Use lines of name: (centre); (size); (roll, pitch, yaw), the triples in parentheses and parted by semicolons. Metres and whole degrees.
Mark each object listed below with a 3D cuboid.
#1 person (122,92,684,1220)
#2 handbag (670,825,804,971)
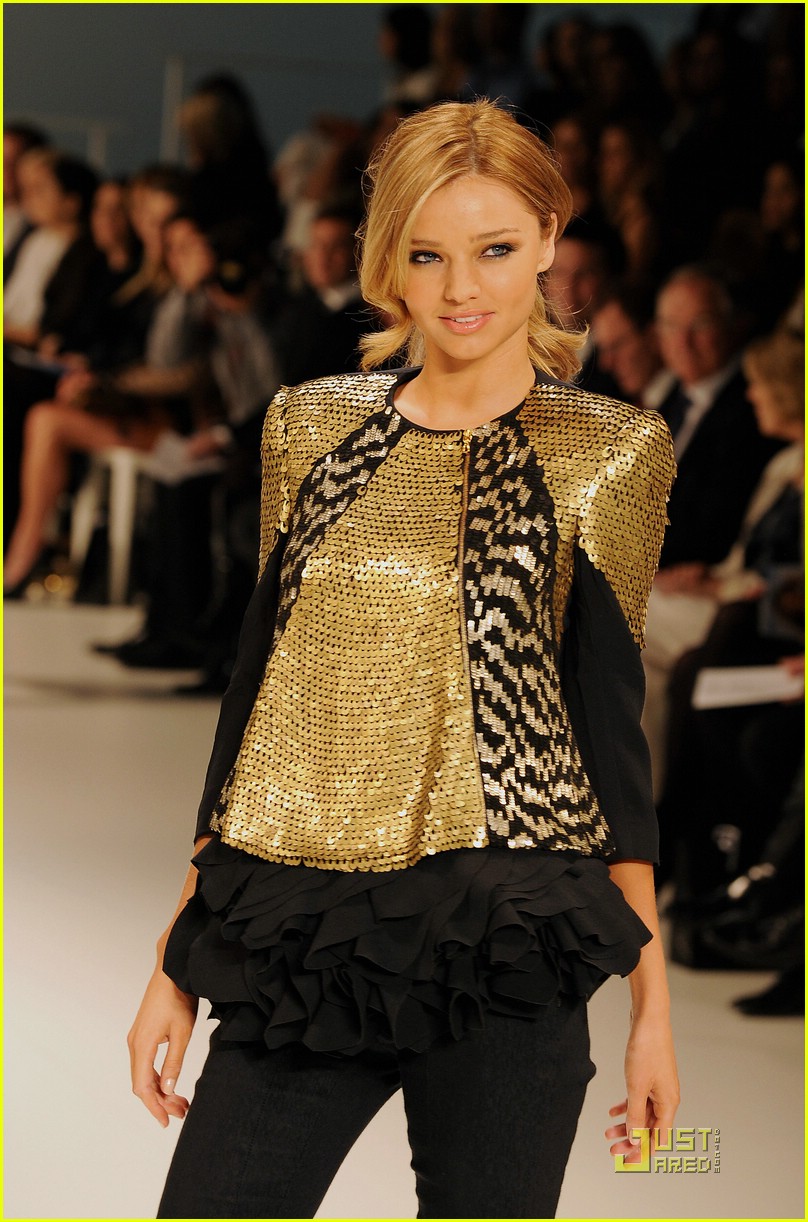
person: (0.021, 0.141, 1.144); (0.517, 0.835, 0.404); (5, 10, 12)
handbag: (0.854, 0.733, 3.047); (0.425, 0.338, 0.130); (0, -3, 2)
